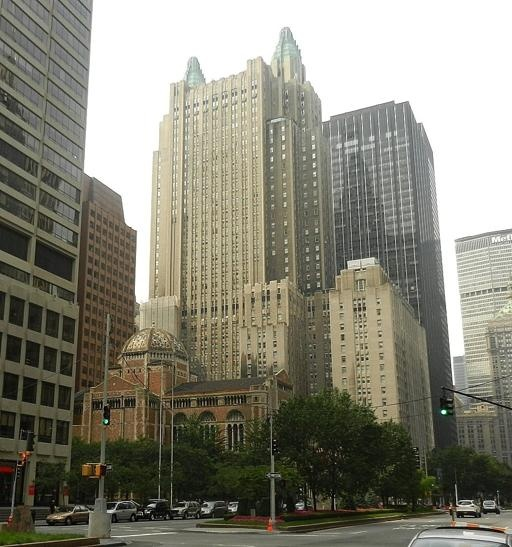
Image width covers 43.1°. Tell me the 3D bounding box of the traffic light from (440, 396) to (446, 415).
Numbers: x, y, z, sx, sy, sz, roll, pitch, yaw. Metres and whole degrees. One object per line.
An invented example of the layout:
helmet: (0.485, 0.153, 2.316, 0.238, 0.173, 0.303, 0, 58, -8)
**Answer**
traffic light: (8.763, 6.234, 30.134, 0.317, 0.759, 0.903, -7, -20, 13)

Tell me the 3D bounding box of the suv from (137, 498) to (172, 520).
suv: (-8.905, 20.932, 57.040, 1.840, 1.880, 3.342, -12, -44, 13)

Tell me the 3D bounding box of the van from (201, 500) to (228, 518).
van: (-3.957, 22.768, 62.290, 1.955, 1.522, 4.023, -8, -21, 13)

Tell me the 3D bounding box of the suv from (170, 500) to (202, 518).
suv: (-6.569, 22.135, 60.422, 1.998, 1.562, 2.945, -14, -23, 29)

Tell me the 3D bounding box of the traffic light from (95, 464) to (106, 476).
traffic light: (-6.787, 8.608, 28.353, 0.577, 0.656, 0.424, -1, -13, -4)

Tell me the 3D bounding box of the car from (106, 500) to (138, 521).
car: (-10.585, 19.153, 51.909, 1.015, 1.576, 2.927, -9, -21, 19)

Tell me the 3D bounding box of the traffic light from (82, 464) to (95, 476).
traffic light: (-7.386, 8.723, 28.645, 0.460, 0.596, 1.122, 3, -21, -16)

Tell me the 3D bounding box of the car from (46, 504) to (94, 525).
car: (-13.488, 17.619, 47.154, 1.988, 1.368, 3.524, -10, -22, 18)

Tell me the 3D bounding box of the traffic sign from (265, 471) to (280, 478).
traffic sign: (1.215, 13.804, 44.197, 0.797, 0.444, 1.332, 0, -21, -9)

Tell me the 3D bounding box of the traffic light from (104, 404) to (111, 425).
traffic light: (-6.443, 6.152, 28.004, 0.237, 0.946, 1.047, 3, -21, -14)
